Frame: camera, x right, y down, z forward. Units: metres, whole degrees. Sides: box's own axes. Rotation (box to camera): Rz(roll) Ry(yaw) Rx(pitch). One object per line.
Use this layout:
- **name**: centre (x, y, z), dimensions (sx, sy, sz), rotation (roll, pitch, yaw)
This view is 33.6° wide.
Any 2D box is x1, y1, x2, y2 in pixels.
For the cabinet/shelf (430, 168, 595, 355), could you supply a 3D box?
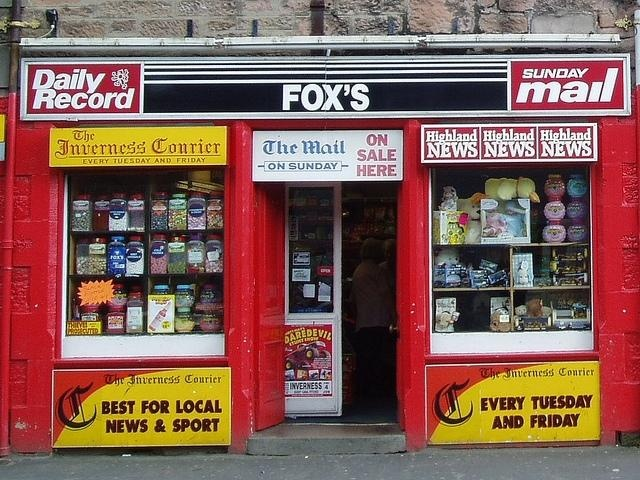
- **cabinet/shelf**: centre (2.127, 0.315, 11.808), dimensions (2.170, 2.337, 0.811), rotation (1, -4, -2)

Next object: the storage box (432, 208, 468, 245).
- **storage box**: centre (1.428, -0.138, 11.916), dimensions (0.408, 0.347, 0.205), rotation (2, -2, -35)

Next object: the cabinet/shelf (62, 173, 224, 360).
- **cabinet/shelf**: centre (-1.955, 0.372, 11.759), dimensions (2.203, 2.291, 0.780), rotation (0, -5, -2)
